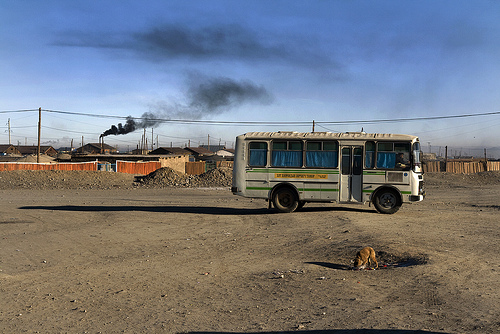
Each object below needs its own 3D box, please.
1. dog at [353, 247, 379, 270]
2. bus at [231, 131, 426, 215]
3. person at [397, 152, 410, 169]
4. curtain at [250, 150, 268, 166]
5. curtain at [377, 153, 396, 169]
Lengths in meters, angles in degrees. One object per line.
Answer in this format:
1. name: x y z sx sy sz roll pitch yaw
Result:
1. dog: 3.924 3.062 13.042 0.996 0.703 0.433 -4 7 -23
2. bus: 4.244 0.365 21.372 9.740 4.537 0.854 0 7 6
3. person: 8.239 -0.351 20.913 0.588 0.875 0.249 0 7 8
4. curtain: 0.502 -0.488 21.739 0.842 0.842 0.065 1 -2 1
5. curtain: 7.389 -0.327 20.979 0.849 0.871 0.091 -1 2 4
